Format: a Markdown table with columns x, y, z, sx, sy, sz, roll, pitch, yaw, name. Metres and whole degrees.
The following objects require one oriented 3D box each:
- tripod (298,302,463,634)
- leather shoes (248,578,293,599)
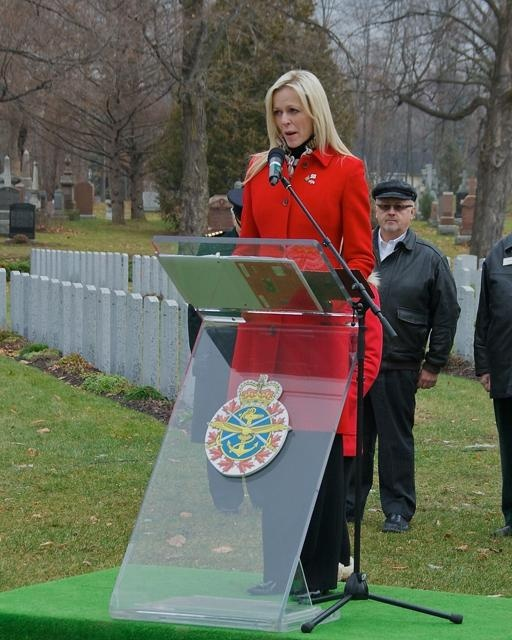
| x | y | z | sx | sy | sz | roll | pitch | yaw | name |
| --- | --- | --- | --- | --- | --- | --- | --- | --- | --- |
| 0.452 | 0.599 | 5.889 | 0.677 | 1.404 | 0.964 | -1 | 10 | -9 | tripod |
| 0.042 | 1.099 | 5.491 | 0.114 | 0.045 | 0.086 | -4 | -3 | 15 | leather shoes |
